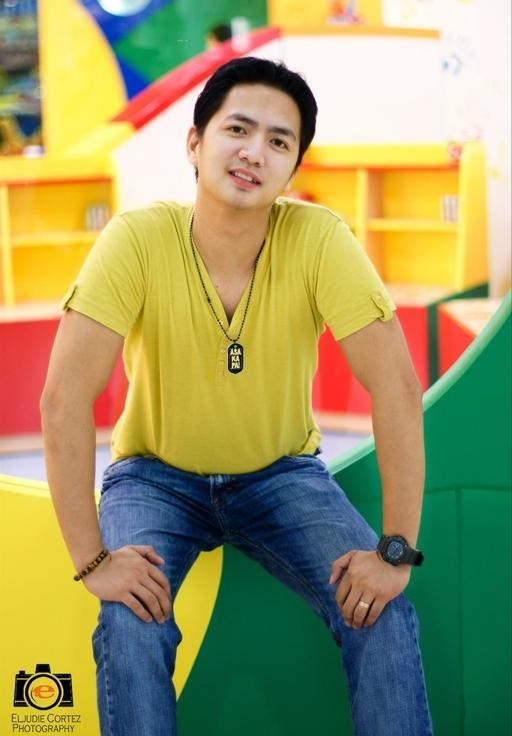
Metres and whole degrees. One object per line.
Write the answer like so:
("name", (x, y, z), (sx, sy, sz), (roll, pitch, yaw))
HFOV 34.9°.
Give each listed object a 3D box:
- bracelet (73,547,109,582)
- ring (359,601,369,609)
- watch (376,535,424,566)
("bracelet", (-0.241, 0.290, 1.202), (0.049, 0.015, 0.040), (-42, 4, 11))
("ring", (0.157, 0.341, 1.181), (0.010, 0.003, 0.010), (34, -14, 9))
("watch", (0.222, 0.279, 1.251), (0.058, 0.043, 0.053), (13, -11, 8))
